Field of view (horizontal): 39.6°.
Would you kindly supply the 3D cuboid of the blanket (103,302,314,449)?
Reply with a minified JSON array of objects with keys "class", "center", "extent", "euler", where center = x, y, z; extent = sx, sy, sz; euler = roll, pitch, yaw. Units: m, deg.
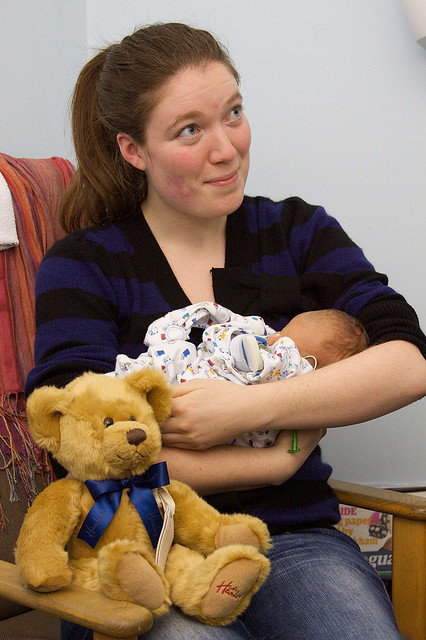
[{"class":"blanket","center":[-0.032,0.077,1.061],"extent":[0.361,0.237,0.285],"euler":[1,0,-8]}]

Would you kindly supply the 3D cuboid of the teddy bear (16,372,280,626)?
[{"class":"teddy bear","center":[-0.076,0.187,0.788],"extent":[0.352,0.331,0.302],"euler":[0,-8,-44]}]
